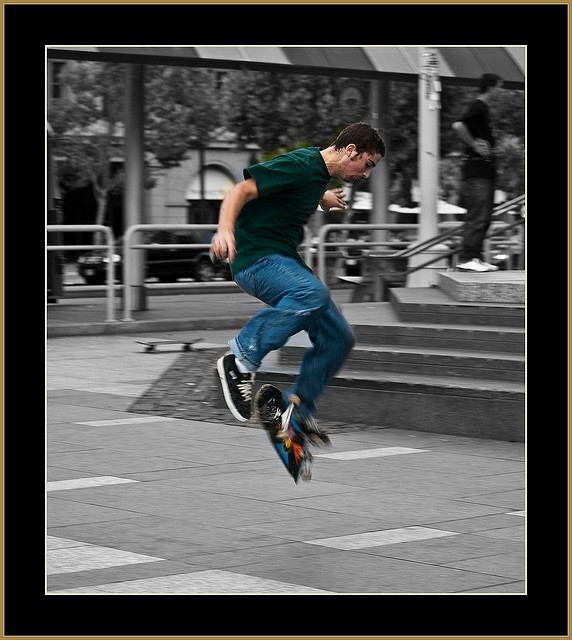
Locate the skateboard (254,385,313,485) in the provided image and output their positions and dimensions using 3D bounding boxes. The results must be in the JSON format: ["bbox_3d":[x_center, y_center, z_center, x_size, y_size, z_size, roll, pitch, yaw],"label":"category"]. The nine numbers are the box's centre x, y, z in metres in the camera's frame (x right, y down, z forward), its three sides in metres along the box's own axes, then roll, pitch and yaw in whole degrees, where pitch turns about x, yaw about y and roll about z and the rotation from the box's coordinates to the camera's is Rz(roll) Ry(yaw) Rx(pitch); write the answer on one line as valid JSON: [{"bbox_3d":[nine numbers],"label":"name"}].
[{"bbox_3d":[-0.011,0.712,4.629,0.223,0.612,0.271,-23,-5,-46],"label":"skateboard"}]

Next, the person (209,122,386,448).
[{"bbox_3d":[0.064,-0.162,4.447,0.973,2.024,1.333,1,3,-1],"label":"person"}]

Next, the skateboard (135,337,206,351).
[{"bbox_3d":[-1.576,0.337,11.025,1.284,0.189,0.308,-2,6,0],"label":"skateboard"}]

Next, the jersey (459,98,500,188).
[{"bbox_3d":[2.535,-2.333,9.928,0.641,1.163,0.337,-1,4,-30],"label":"jersey"}]

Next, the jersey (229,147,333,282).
[{"bbox_3d":[-0.015,-0.638,4.301,0.554,0.744,0.577,0,3,-10],"label":"jersey"}]

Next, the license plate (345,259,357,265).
[{"bbox_3d":[1.301,-1.186,15.346,0.180,0.097,0.543,0,3,-5],"label":"license plate"}]

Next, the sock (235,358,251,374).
[{"bbox_3d":[-0.256,0.269,4.387,0.087,0.080,0.075,1,4,18],"label":"sock"}]
